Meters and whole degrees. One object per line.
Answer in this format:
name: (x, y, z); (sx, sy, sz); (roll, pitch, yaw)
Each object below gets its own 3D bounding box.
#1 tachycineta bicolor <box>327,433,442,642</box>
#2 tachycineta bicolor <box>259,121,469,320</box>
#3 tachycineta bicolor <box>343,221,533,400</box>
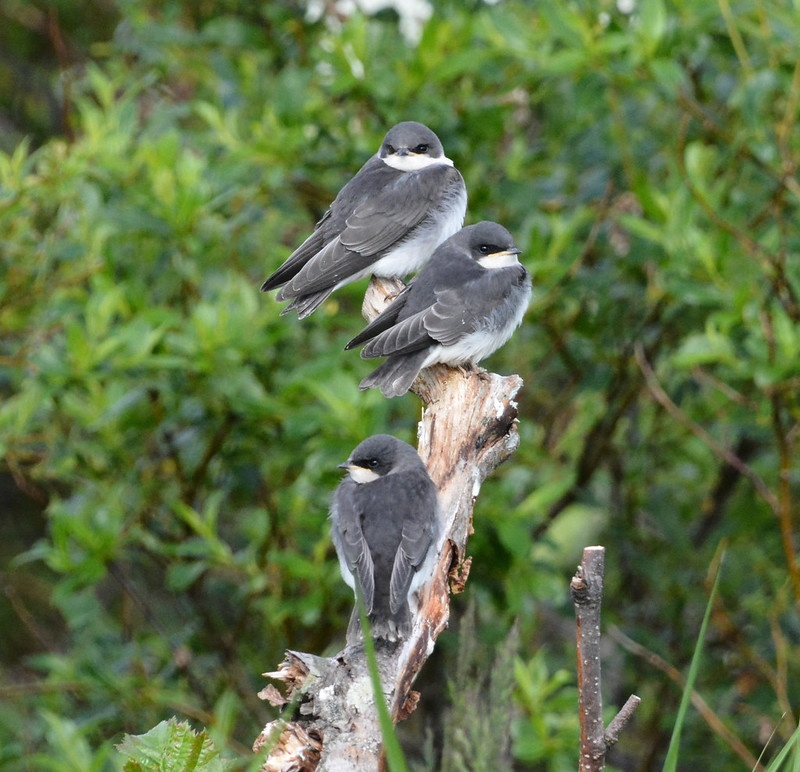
tachycineta bicolor: (-0.053, 0.495, 4.074); (0.271, 0.347, 0.795); (-8, 35, 13)
tachycineta bicolor: (-0.157, -0.762, 5.393); (0.929, 0.642, 0.538); (-22, 28, -25)
tachycineta bicolor: (0.164, -0.351, 4.980); (0.770, 0.571, 0.437); (-15, 27, -7)
